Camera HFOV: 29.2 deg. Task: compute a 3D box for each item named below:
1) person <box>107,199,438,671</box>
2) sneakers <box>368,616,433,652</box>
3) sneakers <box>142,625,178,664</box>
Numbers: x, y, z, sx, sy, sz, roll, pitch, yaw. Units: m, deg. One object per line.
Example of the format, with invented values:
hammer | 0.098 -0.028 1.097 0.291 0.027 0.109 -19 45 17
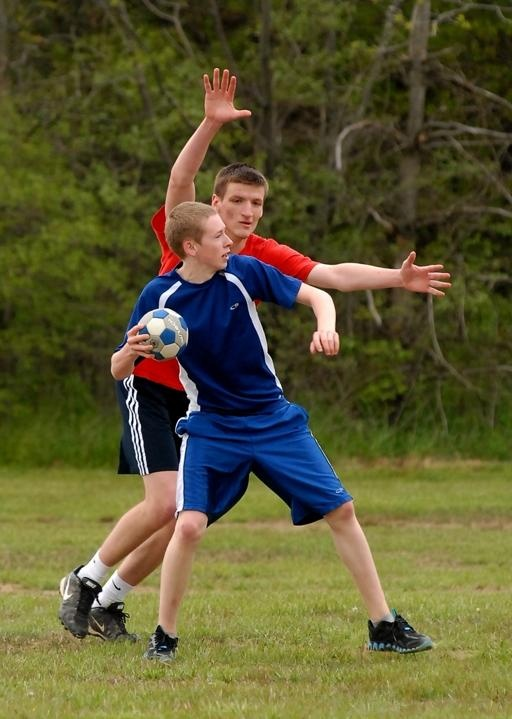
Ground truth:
person | 0.000 0.231 3.418 0.919 1.596 0.367 -1 -5 8
sneakers | 0.491 0.961 3.462 0.273 0.118 0.098 -1 -3 14
sneakers | -0.340 0.980 3.379 0.071 0.073 0.178 4 -6 -4
